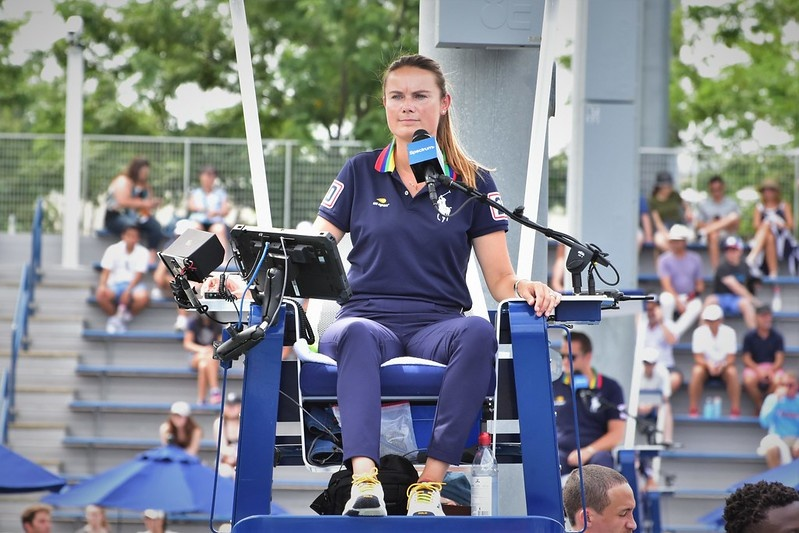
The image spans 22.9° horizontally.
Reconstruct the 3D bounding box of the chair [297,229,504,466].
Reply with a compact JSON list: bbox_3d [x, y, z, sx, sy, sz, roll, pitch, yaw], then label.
[{"bbox_3d":[-0.167,1.361,25.806,2.368,3.065,2.882,1,-12,0],"label":"chair"}]

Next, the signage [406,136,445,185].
[{"bbox_3d":[0.311,-1.344,24.496,0.354,0.342,0.616,-14,42,-3],"label":"signage"}]

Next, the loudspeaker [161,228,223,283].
[{"bbox_3d":[-2.529,-0.172,24.446,0.673,0.503,0.657,-40,27,-26],"label":"loudspeaker"}]
